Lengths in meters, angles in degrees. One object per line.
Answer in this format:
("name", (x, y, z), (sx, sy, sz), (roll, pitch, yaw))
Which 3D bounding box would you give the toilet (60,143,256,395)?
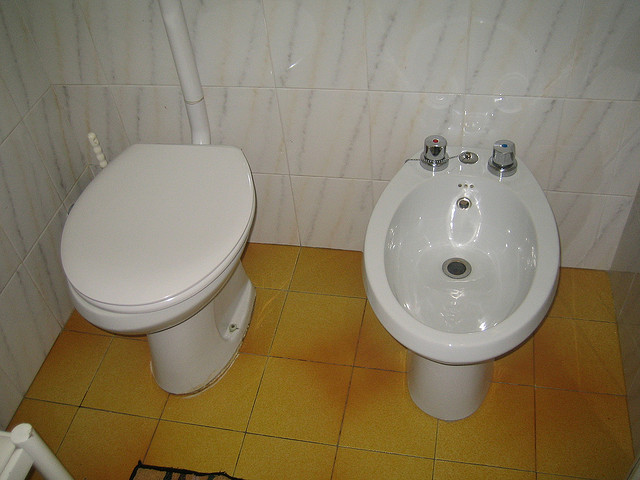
("toilet", (-0.299, 0.041, 1.449), (0.530, 0.671, 0.698), (1, 53, 7))

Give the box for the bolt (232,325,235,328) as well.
("bolt", (-0.268, 0.263, 1.457), (0.005, 0.008, 0.008), (-2, 9, 4))

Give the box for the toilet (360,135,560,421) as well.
("toilet", (0.367, 0.152, 1.210), (0.393, 0.605, 0.582), (-1, 39, 11))
